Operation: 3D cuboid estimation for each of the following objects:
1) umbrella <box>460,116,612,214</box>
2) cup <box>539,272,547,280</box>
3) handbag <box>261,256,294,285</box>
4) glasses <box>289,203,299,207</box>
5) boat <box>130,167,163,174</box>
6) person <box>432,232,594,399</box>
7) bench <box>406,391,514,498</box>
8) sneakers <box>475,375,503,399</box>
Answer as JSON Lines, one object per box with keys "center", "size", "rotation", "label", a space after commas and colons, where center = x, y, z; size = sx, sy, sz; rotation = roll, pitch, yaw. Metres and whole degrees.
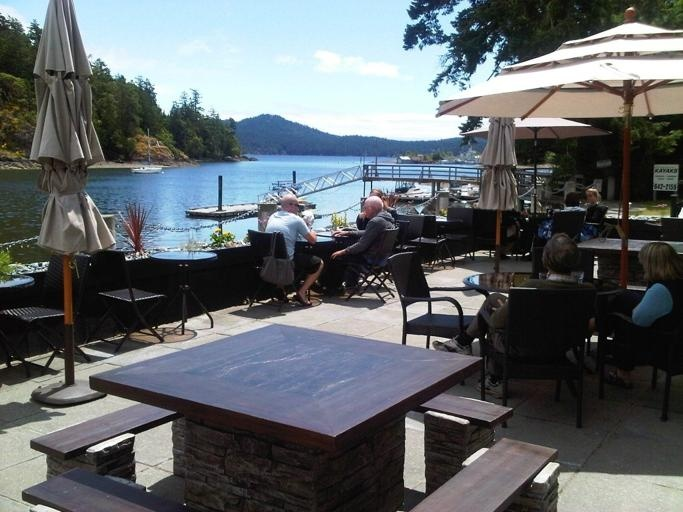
{"center": [4.028, -2.108, 11.854], "size": [2.095, 1.554, 1.935], "rotation": [-12, 21, -29], "label": "umbrella"}
{"center": [1.801, 0.180, 5.188], "size": [0.063, 0.037, 0.058], "rotation": [-2, 0, 0], "label": "cup"}
{"center": [-0.886, 0.191, 8.051], "size": [0.454, 0.393, 0.169], "rotation": [6, 19, -5], "label": "handbag"}
{"center": [-0.726, -0.785, 8.733], "size": [0.030, 0.078, 0.089], "rotation": [4, 2, -40], "label": "glasses"}
{"center": [-36.382, -16.236, 107.955], "size": [5.708, 1.126, 3.337], "rotation": [-8, 16, -35], "label": "boat"}
{"center": [1.528, 0.422, 5.288], "size": [0.859, 1.431, 1.536], "rotation": [3, 12, -26], "label": "person"}
{"center": [0.754, 1.216, 3.922], "size": [0.517, 0.403, 0.364], "rotation": [7, 8, 35], "label": "bench"}
{"center": [1.331, 1.188, 5.212], "size": [0.125, 0.112, 0.286], "rotation": [-4, 10, -21], "label": "sneakers"}
